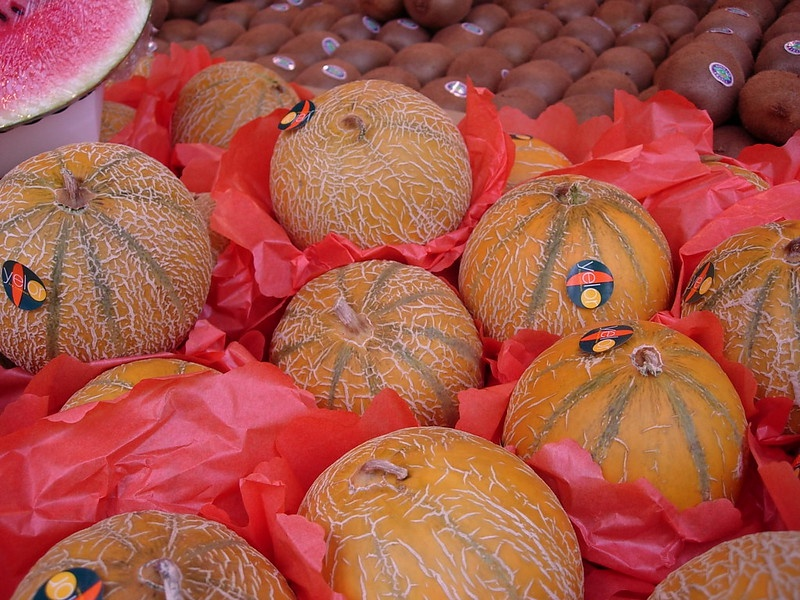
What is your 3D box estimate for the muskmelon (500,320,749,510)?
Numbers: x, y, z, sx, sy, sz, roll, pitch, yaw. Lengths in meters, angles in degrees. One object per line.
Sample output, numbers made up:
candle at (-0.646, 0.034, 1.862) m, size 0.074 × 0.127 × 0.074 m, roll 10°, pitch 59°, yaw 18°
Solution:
muskmelon at (0.505, 0.319, 1.746) m, size 0.391 × 0.395 × 0.406 m, roll 28°, pitch 50°, yaw 26°
